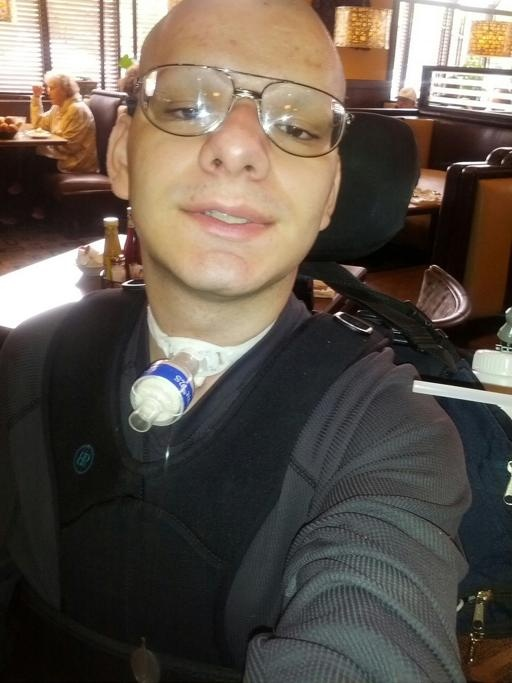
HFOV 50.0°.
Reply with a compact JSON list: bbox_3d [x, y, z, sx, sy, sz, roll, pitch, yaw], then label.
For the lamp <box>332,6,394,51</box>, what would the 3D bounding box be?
[{"bbox_3d":[1.237,-3.616,6.452,0.628,0.584,0.395,2,3,5],"label":"lamp"}]
